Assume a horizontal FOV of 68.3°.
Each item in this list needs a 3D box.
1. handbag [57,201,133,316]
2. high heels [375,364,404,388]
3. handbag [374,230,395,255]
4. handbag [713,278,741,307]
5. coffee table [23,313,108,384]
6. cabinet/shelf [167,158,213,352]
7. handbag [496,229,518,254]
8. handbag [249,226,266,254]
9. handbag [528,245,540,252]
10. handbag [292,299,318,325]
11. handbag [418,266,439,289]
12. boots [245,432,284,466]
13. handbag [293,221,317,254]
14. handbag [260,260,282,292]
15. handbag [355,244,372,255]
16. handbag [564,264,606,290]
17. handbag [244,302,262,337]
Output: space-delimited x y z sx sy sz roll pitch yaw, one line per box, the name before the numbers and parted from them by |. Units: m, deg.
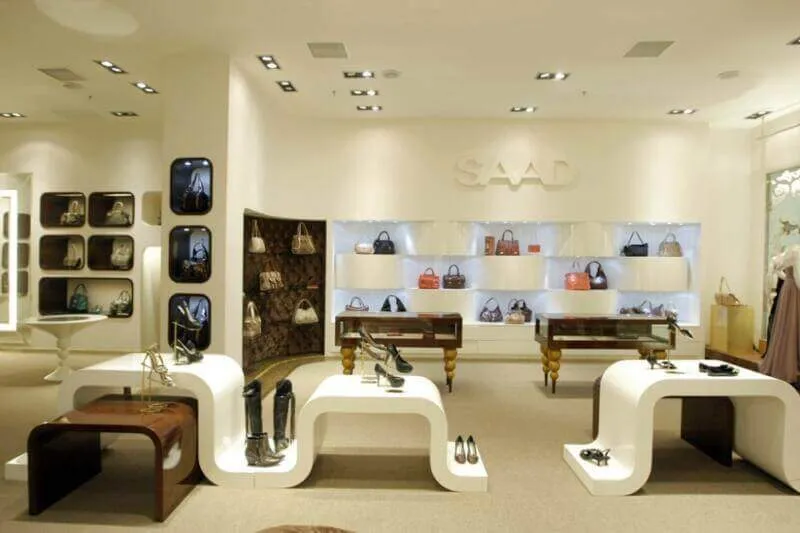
handbag | -5.231 -0.253 10.400 1.233 2.118 0.272 0 0 4
high heels | -0.100 1.190 6.436 0.326 0.225 0.186 0 -3 12
handbag | -0.277 -0.421 10.657 0.411 0.417 0.160 1 -13 -6
handbag | 5.853 0.476 10.603 0.202 0.447 0.471 -1 1 -20
coffee table | -4.929 1.102 8.853 1.154 0.832 1.170 3 -1 10
cabinet/shelf | -2.911 -0.172 8.162 0.626 2.668 0.338 0 0 27
handbag | 1.919 -0.439 10.677 0.423 0.473 0.215 0 -8 2
handbag | -2.397 -0.440 9.855 0.164 0.548 0.399 -1 -8 -3
handbag | 2.407 -0.321 10.626 0.210 0.143 0.115 0 -4 2
handbag | -1.729 0.820 10.617 0.441 0.436 0.199 -2 5 -3
handbag | 0.499 0.271 10.656 0.547 0.531 0.302 1 -8 1
boots | -1.472 1.946 6.244 0.449 0.338 0.228 1 -6 -1
handbag | -1.736 -0.526 10.646 0.547 0.651 0.242 1 -14 -13
handbag | -2.228 0.170 10.093 0.208 0.505 0.508 -11 -6 26
handbag | -0.652 -0.330 10.623 0.213 0.135 0.214 1 5 1
handbag | 3.328 0.187 10.523 0.692 0.602 0.427 -1 -3 5
handbag | -2.401 0.872 9.598 0.310 0.542 0.568 1 -4 -2
